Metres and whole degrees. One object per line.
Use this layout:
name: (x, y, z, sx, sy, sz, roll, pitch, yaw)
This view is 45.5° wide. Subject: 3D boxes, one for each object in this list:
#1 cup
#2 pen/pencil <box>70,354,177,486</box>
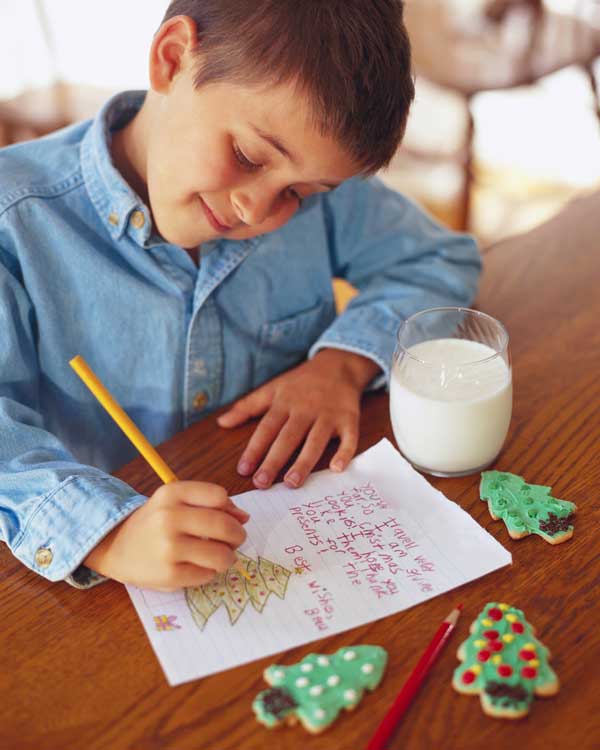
cup: (0.120, 0.021, 0.659, 0.148, 0.139, 0.135, -2, 39, 2)
pen/pencil: (-0.180, 0.040, 0.726, 0.019, 0.166, 0.024, -42, -6, 5)
